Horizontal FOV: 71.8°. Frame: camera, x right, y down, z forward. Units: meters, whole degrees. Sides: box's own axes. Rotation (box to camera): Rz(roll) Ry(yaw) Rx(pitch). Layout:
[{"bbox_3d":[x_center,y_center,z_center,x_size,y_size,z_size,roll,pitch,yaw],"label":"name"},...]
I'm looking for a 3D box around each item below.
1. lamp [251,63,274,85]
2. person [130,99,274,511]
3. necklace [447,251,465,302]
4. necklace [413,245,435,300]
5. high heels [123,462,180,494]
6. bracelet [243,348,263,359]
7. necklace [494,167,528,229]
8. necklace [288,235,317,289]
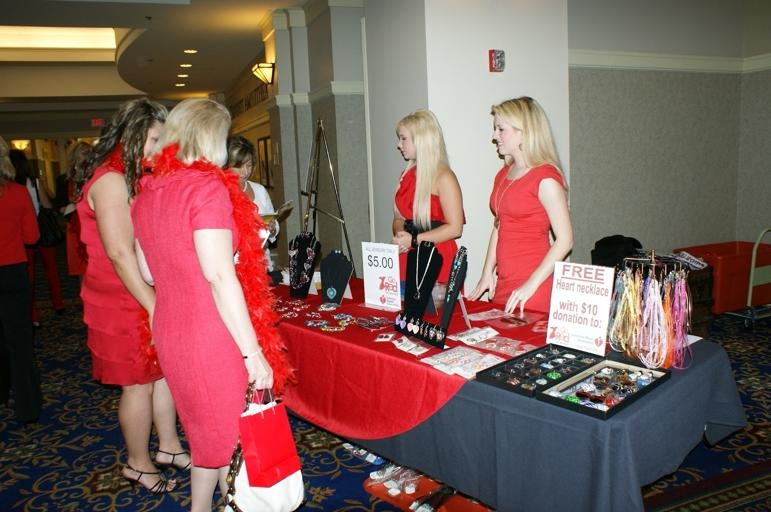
[{"bbox_3d":[-1.602,-2.443,7.114,0.183,0.284,0.464,-8,11,-25],"label":"lamp"},{"bbox_3d":[-0.822,0.266,2.482,0.646,1.976,0.520,-5,11,-8],"label":"person"},{"bbox_3d":[0.381,0.099,2.757,0.069,0.281,0.073,14,0,-40],"label":"necklace"},{"bbox_3d":[0.198,0.088,2.847,0.094,0.277,0.008,12,-10,11],"label":"necklace"},{"bbox_3d":[-1.397,1.313,3.200,0.280,0.088,0.166,18,8,-2],"label":"high heels"},{"bbox_3d":[-0.591,0.440,2.381,0.055,0.018,0.049,-26,7,8],"label":"bracelet"},{"bbox_3d":[0.765,-0.300,3.347,0.065,0.252,0.240,4,24,37],"label":"necklace"},{"bbox_3d":[-0.541,0.048,3.535,0.276,0.462,0.047,13,11,38],"label":"necklace"}]
